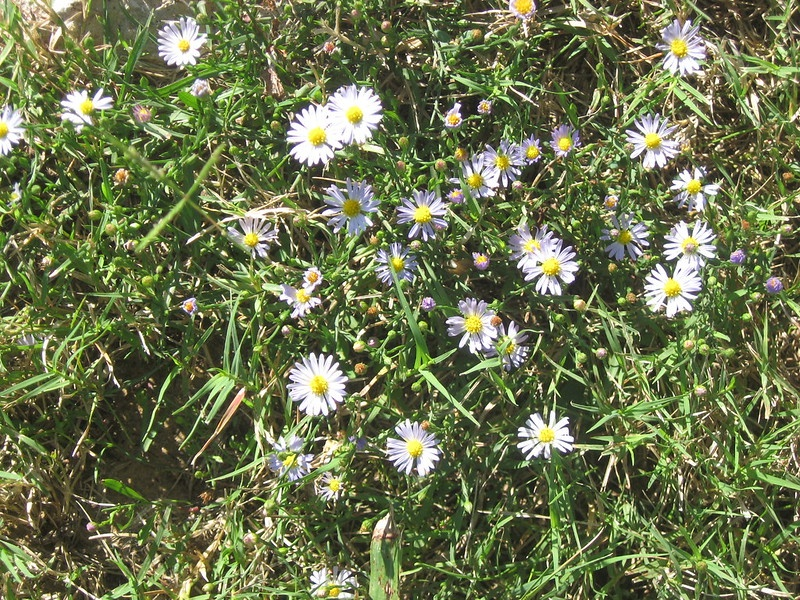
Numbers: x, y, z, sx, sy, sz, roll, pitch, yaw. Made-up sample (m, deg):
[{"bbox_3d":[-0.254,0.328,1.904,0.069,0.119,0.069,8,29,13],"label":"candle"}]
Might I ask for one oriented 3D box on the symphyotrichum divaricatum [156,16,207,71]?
[{"bbox_3d":[-1.016,-1.156,3.585,0.218,0.094,0.277,-3,84,10],"label":"symphyotrichum divaricatum"}]
